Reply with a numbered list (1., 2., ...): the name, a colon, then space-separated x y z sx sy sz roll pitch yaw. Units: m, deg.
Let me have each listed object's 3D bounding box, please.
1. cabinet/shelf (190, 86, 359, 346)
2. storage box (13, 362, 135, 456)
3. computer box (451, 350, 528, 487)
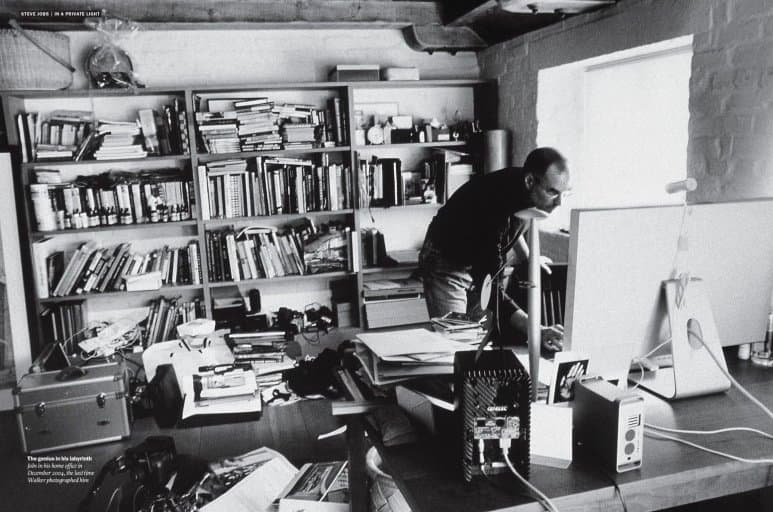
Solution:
1. cabinet/shelf: -0.924 -0.679 5.216 1.259 1.892 0.510 -4 -30 -11
2. storage box: -1.941 0.817 3.857 0.720 0.486 0.498 -5 15 -13
3. computer box: 0.375 0.594 2.312 0.250 0.370 0.401 -6 21 -1
